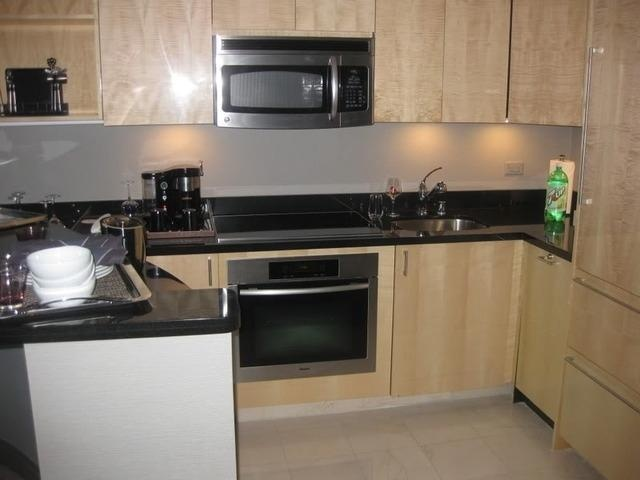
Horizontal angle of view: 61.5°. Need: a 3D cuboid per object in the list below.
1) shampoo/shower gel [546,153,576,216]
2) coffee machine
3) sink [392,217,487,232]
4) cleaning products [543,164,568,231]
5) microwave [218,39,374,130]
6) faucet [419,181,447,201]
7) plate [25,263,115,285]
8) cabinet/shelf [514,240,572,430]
[{"bbox_3d":[1.467,-0.317,3.272,0.117,0.413,0.146,-2,9,-9],"label":"shampoo/shower gel"},{"bbox_3d":[-0.797,-0.248,3.048,0.263,0.319,0.391,-5,16,-14],"label":"coffee machine"},{"bbox_3d":[0.739,-0.088,3.402,0.532,0.103,0.270,1,16,7],"label":"sink"},{"bbox_3d":[1.422,-0.273,3.232,0.115,0.341,0.163,7,17,28],"label":"cleaning products"},{"bbox_3d":[-0.132,-0.866,2.962,0.873,0.486,0.176,-2,15,-2],"label":"microwave"},{"bbox_3d":[0.743,-0.315,3.538,0.201,0.154,0.217,0,15,5],"label":"faucet"},{"bbox_3d":[-0.800,0.108,1.693,0.198,0.034,0.228,1,13,-5],"label":"plate"},{"bbox_3d":[1.210,0.494,2.969,0.391,0.799,0.365,-2,13,-10],"label":"cabinet/shelf"}]
